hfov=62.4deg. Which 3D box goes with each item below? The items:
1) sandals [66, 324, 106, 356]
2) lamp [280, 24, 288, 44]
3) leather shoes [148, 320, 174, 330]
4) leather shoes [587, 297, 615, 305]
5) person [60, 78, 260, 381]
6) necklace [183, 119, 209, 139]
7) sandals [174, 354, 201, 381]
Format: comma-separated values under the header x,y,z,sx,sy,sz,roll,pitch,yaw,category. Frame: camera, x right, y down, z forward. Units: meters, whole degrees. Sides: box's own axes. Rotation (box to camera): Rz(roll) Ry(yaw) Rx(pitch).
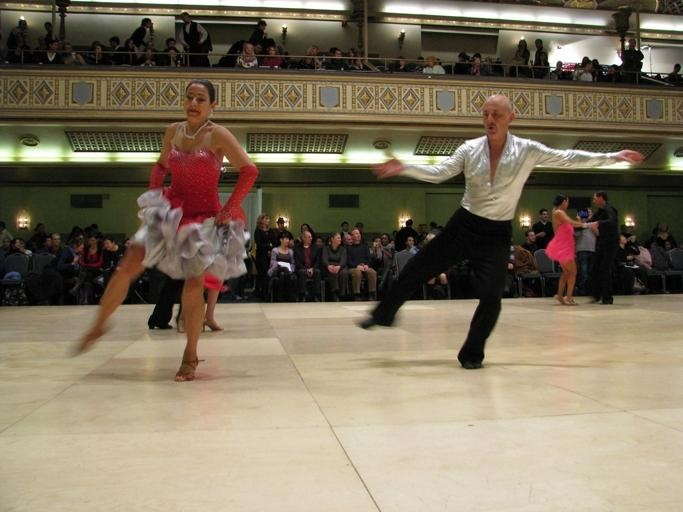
x,y,z,sx,sy,sz,roll,pitch,yaw,category
-1.688,0.571,3.784,0.203,0.266,0.504,1,4,-29,sandals
-1.741,-6.944,17.662,0.207,0.608,0.220,1,4,-29,lamp
-1.995,0.755,6.218,0.197,0.091,0.110,-4,-2,-5,leather shoes
4.325,0.751,9.501,0.272,0.118,0.093,6,3,45,leather shoes
-1.052,-0.216,3.691,0.957,1.935,0.570,2,4,-10,person
-0.966,-0.832,3.755,0.133,0.142,0.034,-27,3,18,necklace
-0.974,0.702,3.570,0.123,0.132,0.221,2,3,-16,sandals
